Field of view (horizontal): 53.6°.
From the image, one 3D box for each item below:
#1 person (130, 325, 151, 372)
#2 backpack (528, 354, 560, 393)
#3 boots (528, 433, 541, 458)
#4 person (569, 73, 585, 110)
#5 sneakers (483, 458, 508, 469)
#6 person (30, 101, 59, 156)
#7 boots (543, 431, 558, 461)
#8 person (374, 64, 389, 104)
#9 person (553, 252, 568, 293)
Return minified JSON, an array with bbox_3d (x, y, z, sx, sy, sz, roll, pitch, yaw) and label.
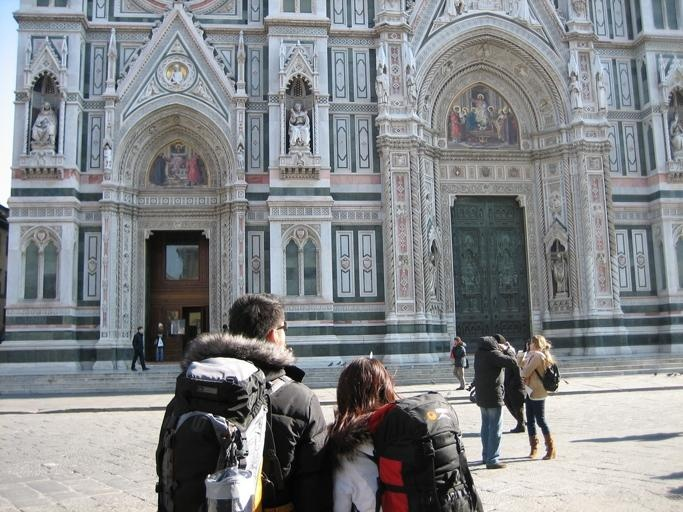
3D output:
[{"bbox_3d":[-7.012,3.170,23.394,0.527,1.481,2.055,1,-7,-17],"label":"person"},{"bbox_3d":[3.444,2.070,11.508,0.446,0.469,0.317,-1,-6,11],"label":"backpack"},{"bbox_3d":[3.113,3.091,10.993,0.138,0.344,0.248,-2,-6,14],"label":"boots"},{"bbox_3d":[9.214,-6.454,26.550,0.508,1.537,0.419,-2,-6,10],"label":"person"},{"bbox_3d":[2.342,3.160,10.333,0.327,0.146,0.126,0,-5,-16],"label":"sneakers"},{"bbox_3d":[-10.614,-4.668,24.148,0.980,1.798,1.022,1,-4,-42],"label":"person"},{"bbox_3d":[3.344,3.039,10.881,0.156,0.420,0.352,-5,-7,33],"label":"boots"},{"bbox_3d":[1.506,-6.391,25.157,0.478,1.582,0.301,-1,-6,3],"label":"person"},{"bbox_3d":[8.421,0.650,26.137,0.169,1.606,0.584,5,-8,-42],"label":"person"}]
